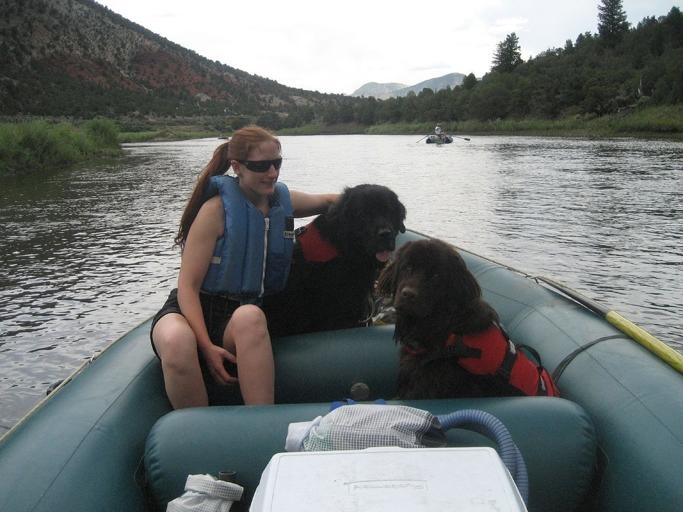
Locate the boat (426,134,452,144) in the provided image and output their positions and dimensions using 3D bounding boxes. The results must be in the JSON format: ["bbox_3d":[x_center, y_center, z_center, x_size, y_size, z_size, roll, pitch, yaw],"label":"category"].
[{"bbox_3d":[8.141,-9.725,42.280,1.636,0.645,2.051,1,10,11],"label":"boat"}]
